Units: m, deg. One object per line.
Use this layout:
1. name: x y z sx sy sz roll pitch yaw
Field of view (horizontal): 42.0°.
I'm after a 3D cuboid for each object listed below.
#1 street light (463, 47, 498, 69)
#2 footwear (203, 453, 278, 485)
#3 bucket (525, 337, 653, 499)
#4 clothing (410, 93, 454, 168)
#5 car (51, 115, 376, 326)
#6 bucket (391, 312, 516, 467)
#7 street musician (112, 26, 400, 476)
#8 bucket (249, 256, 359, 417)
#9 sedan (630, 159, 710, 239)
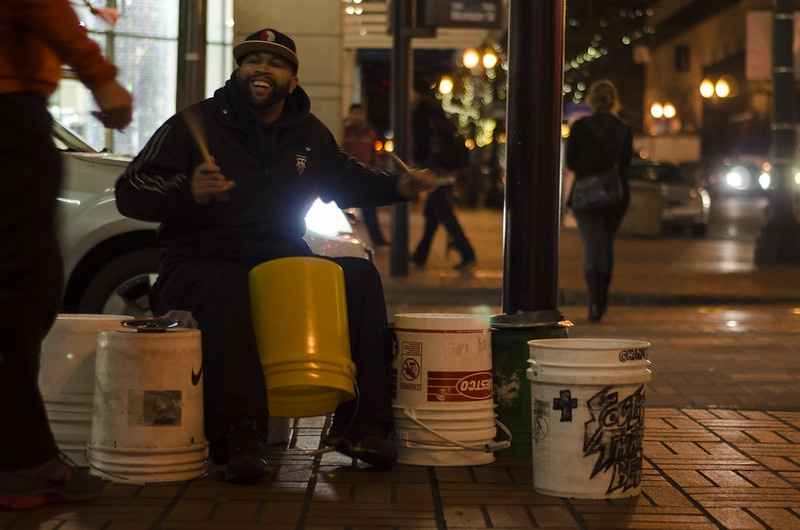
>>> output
1. street light: 1.899 -4.731 23.551 1.080 0.463 1.093 1 13 -12
2. footwear: -0.898 1.144 5.783 0.386 0.169 0.169 -4 0 18
3. bucket: 1.160 0.819 5.917 0.756 0.837 0.783 0 0 0
4. clothing: 0.439 -1.923 15.001 0.688 1.067 0.492 3 10 21
5. car: -1.334 -0.379 7.847 2.208 1.251 1.279 -3 7 -7
6. bucket: 0.373 0.736 6.371 0.824 0.812 0.725 -3 -3 23
7. street musician: -0.771 -0.153 6.274 1.863 2.626 1.739 -3 -4 5
8. bucket: -0.543 0.422 5.901 0.599 0.913 0.371 -1 9 -7
9. sedan: 5.963 -1.520 23.030 1.213 0.983 2.151 0 0 4
